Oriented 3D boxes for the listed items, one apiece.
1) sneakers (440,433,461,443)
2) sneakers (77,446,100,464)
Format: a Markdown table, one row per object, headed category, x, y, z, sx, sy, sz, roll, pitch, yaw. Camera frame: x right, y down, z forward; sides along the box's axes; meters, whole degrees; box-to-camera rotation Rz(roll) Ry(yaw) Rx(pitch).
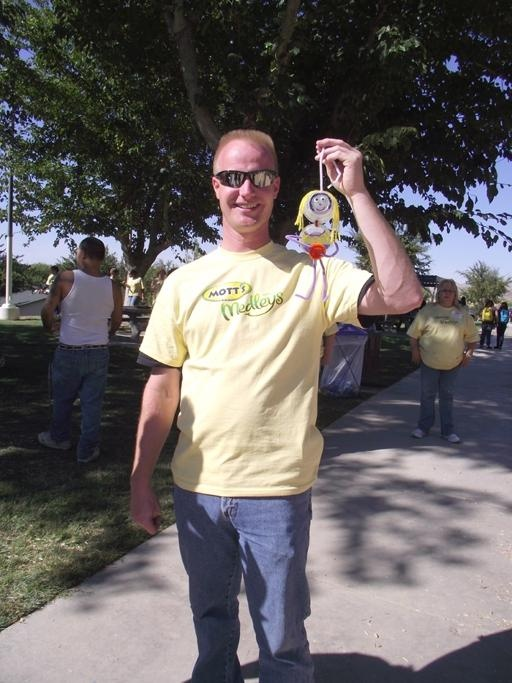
| category | x | y | z | sx | sy | sz | roll | pitch | yaw |
| --- | --- | --- | --- | --- | --- | --- | --- | --- | --- |
| sneakers | 2.154 | 1.052 | 5.828 | 0.166 | 0.086 | 0.227 | 2 | 3 | 8 |
| sneakers | -1.437 | 0.969 | 4.602 | 0.125 | 0.113 | 0.241 | 4 | 4 | 35 |
